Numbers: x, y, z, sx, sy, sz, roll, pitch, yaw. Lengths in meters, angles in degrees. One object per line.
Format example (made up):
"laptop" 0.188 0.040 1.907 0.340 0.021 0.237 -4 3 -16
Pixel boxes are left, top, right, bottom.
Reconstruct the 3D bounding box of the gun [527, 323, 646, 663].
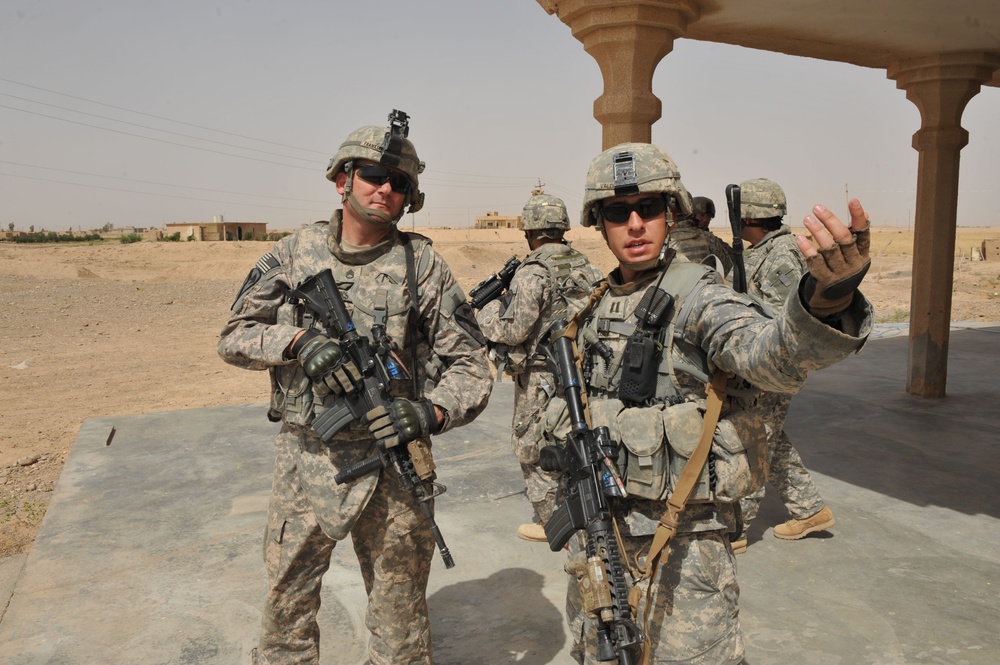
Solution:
"gun" 0.450 0.795 3.455 0.345 1.538 0.696 0 5 -25

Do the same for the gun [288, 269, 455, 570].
"gun" -0.748 0.454 4.042 0.738 1.817 0.382 -25 -7 15

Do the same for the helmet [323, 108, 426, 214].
"helmet" -0.724 -1.005 4.330 0.583 0.455 0.611 11 -14 -20

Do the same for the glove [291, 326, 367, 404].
"glove" -0.968 0.124 3.991 0.403 0.294 0.164 36 -9 20

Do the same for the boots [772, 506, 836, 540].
"boots" 2.535 1.591 6.082 0.545 0.230 0.233 -10 11 3

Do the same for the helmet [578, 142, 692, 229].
"helmet" 0.734 -0.820 3.852 0.585 0.351 0.586 -1 15 26
